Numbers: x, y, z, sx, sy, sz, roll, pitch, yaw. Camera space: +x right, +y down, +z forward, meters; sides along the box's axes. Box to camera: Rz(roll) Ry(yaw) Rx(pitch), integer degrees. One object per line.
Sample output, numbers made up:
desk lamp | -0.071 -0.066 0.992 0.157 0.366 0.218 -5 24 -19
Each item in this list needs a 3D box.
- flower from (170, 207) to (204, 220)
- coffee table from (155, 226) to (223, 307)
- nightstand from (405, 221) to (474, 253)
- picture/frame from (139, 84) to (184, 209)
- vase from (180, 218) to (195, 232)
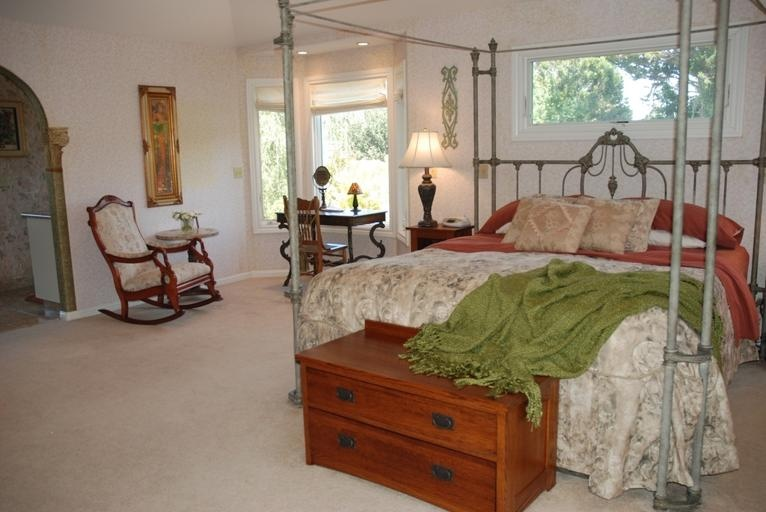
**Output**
flower | -2.318 -0.489 6.729 0.235 0.099 0.235 -2 -1 -37
coffee table | -2.164 0.095 6.699 0.801 0.819 0.797 3 10 23
nightstand | 0.630 -0.275 6.284 0.425 0.515 0.449 4 9 32
picture/frame | -2.603 -1.280 6.757 0.123 1.373 0.477 6 15 34
vase | -2.255 -0.364 6.663 0.149 0.148 0.158 -7 4 4
